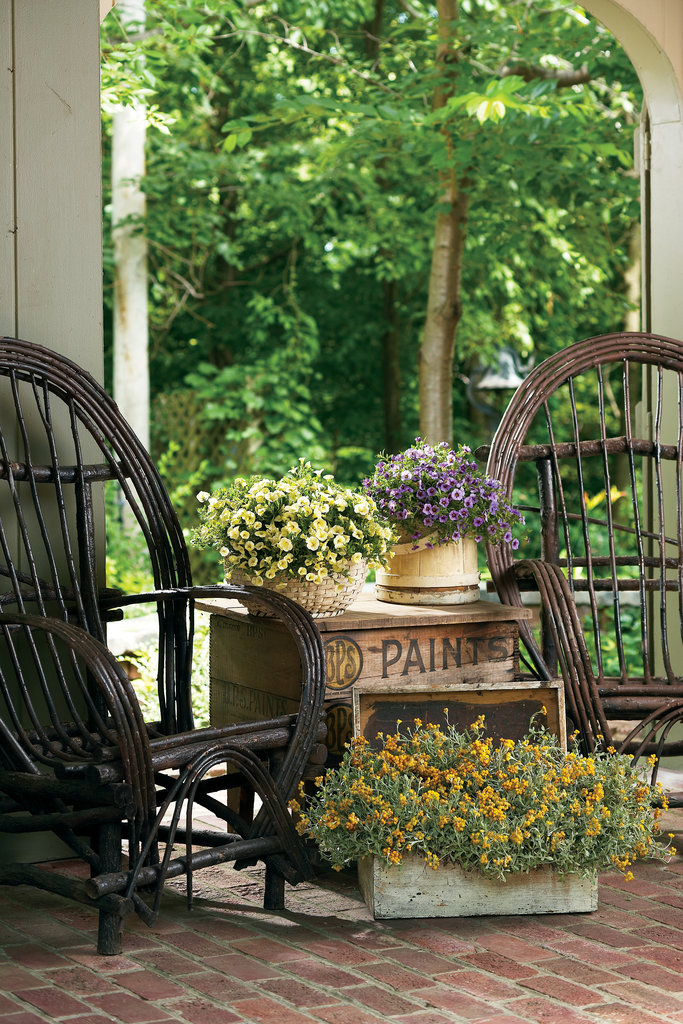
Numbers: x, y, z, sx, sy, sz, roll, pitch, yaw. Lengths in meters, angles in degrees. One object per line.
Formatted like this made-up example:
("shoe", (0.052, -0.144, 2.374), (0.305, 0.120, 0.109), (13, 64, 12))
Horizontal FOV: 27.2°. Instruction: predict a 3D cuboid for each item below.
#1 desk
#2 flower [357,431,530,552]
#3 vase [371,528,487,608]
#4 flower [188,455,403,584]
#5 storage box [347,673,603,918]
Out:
("desk", (0.011, 0.387, 3.318), (0.784, 0.588, 0.549), (0, 0, -31))
("flower", (0.249, -0.030, 3.256), (0.329, 0.166, 0.228), (4, 11, -14))
("vase", (0.199, 0.134, 3.222), (0.195, 0.124, 0.186), (-1, -3, 23))
("flower", (-0.114, 0.053, 3.082), (0.388, 0.169, 0.326), (11, -6, -43))
("storage box", (0.268, 0.566, 2.855), (0.487, 0.362, 0.324), (-2, 20, -13))
